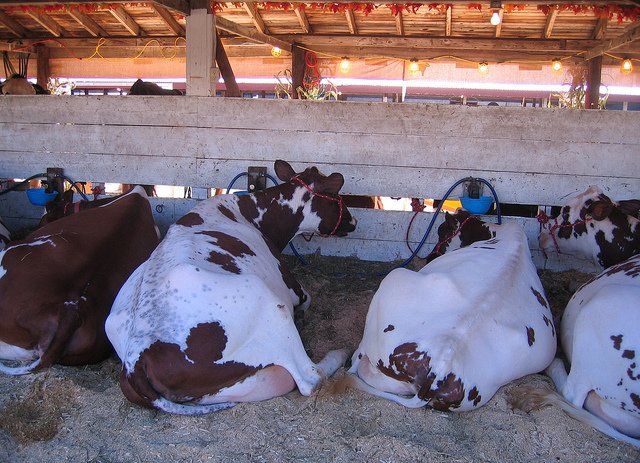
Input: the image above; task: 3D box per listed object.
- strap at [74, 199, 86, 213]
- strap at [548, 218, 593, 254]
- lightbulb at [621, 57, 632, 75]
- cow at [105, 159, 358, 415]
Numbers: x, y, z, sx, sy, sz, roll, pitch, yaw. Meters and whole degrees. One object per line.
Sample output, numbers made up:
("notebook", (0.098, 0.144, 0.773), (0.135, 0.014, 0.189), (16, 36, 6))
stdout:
("strap", (-2.275, -0.243, 5.628), (0.080, 0.120, 0.117), (19, 2, -7))
("strap", (2.397, 0.031, 5.617), (0.303, 0.368, 0.018), (-7, 18, 47))
("lightbulb", (4.701, -2.547, 9.069), (0.132, 0.344, 0.230), (2, 3, 44))
("cow", (-0.665, 0.299, 5.063), (1.816, 1.537, 2.308), (2, 14, 6))
